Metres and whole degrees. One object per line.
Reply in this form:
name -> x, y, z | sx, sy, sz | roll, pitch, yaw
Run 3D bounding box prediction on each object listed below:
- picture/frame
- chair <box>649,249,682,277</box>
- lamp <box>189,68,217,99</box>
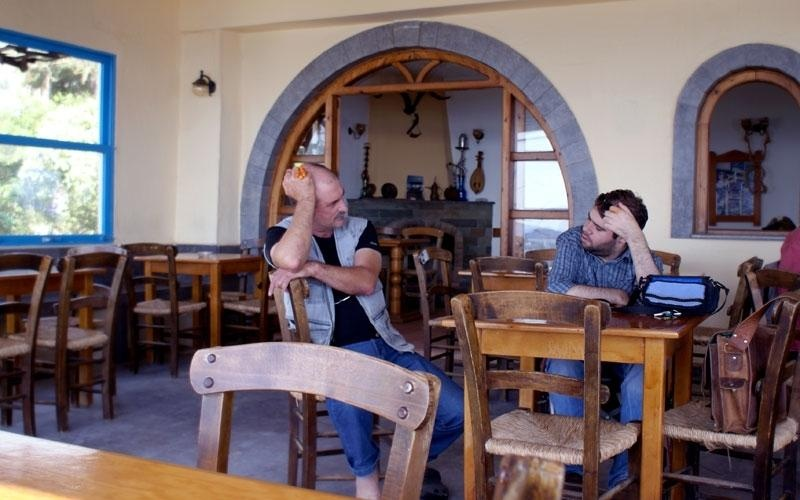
picture/frame -> 6.180, -1.130, 11.989 | 0.885, 1.379, 0.305 | 2, 3, 30
chair -> 2.091, 0.102, 5.127 | 0.256, 0.348, 0.250 | 1, 0, 31
lamp -> -2.300, -1.983, 7.765 | 0.276, 0.362, 0.316 | 1, -1, 26
